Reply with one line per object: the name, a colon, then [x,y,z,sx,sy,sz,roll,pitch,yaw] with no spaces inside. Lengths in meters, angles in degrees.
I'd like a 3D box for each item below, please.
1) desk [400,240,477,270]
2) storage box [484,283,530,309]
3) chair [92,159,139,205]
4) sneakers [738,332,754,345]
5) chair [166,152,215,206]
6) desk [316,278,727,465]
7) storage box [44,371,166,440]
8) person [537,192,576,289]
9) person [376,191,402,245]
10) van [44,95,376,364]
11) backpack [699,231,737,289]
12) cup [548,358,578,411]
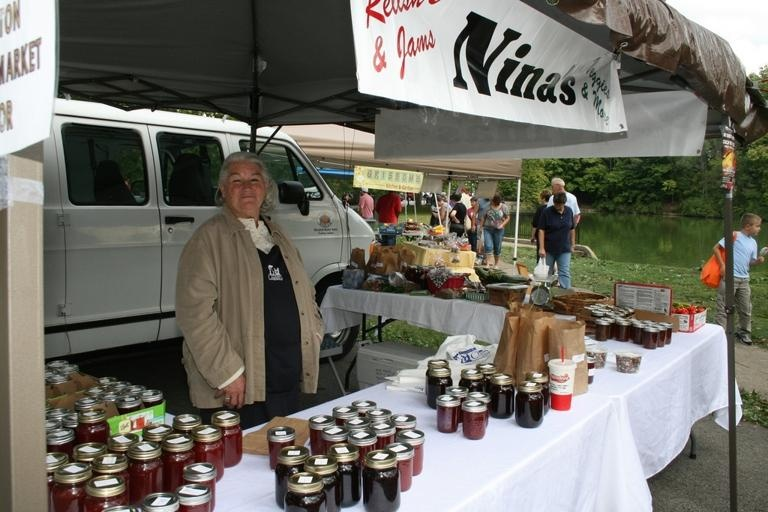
desk: [0.567,0.026,6.741,0.821,0.326,1.168,1,7,24]
storage box: [1.139,0.343,5.224,0.282,0.165,0.351,0,-2,-3]
chair: [-2.655,-0.751,5.692,0.345,0.533,0.421,-16,10,-40]
sneakers: [5.403,1.213,8.362,0.112,0.123,0.272,-2,-2,7]
chair: [-2.209,-1.030,6.303,0.432,0.725,0.704,-1,38,-19]
desk: [1.086,0.764,4.956,2.788,0.726,1.649,8,10,44]
storage box: [-1.359,0.727,2.756,0.307,0.097,0.344,5,4,31]
person: [2.772,-0.264,9.059,0.545,1.540,0.813,0,5,18]
person: [0.063,-0.680,13.190,0.533,1.632,0.468,0,-27,4]
van: [-1.524,-0.603,6.463,3.983,2.345,2.402,1,22,14]
backpack: [4.800,0.090,8.059,0.314,0.728,0.373,-8,20,-34]
cup: [0.992,0.727,3.152,0.164,0.260,0.170,4,-3,0]
